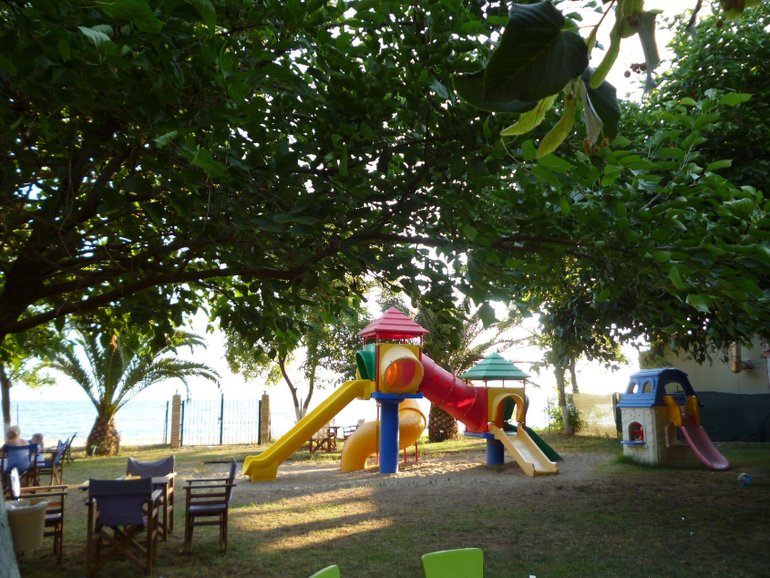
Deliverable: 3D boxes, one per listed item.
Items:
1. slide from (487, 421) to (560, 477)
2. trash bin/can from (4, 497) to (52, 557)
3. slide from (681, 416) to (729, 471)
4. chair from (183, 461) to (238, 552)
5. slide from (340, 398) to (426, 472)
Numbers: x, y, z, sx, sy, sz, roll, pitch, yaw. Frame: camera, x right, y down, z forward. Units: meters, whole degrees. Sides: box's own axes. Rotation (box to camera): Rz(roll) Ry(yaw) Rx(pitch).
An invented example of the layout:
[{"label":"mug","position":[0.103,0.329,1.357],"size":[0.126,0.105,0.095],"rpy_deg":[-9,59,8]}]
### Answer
[{"label":"slide","position":[3.175,3.887,13.511],"size":[0.596,0.489,2.334],"rpy_deg":[1,21,-10]},{"label":"trash bin/can","position":[-3.903,2.573,6.490],"size":[0.389,0.557,0.361],"rpy_deg":[4,-9,-33]},{"label":"slide","position":[7.072,3.421,13.331],"size":[0.585,0.373,2.002],"rpy_deg":[-11,15,12]},{"label":"chair","position":[-2.338,2.942,8.065],"size":[0.659,1.059,0.845],"rpy_deg":[3,-13,-18]},{"label":"slide","position":[0.014,3.793,16.134],"size":[1.579,2.657,1.488],"rpy_deg":[11,-24,7]}]
